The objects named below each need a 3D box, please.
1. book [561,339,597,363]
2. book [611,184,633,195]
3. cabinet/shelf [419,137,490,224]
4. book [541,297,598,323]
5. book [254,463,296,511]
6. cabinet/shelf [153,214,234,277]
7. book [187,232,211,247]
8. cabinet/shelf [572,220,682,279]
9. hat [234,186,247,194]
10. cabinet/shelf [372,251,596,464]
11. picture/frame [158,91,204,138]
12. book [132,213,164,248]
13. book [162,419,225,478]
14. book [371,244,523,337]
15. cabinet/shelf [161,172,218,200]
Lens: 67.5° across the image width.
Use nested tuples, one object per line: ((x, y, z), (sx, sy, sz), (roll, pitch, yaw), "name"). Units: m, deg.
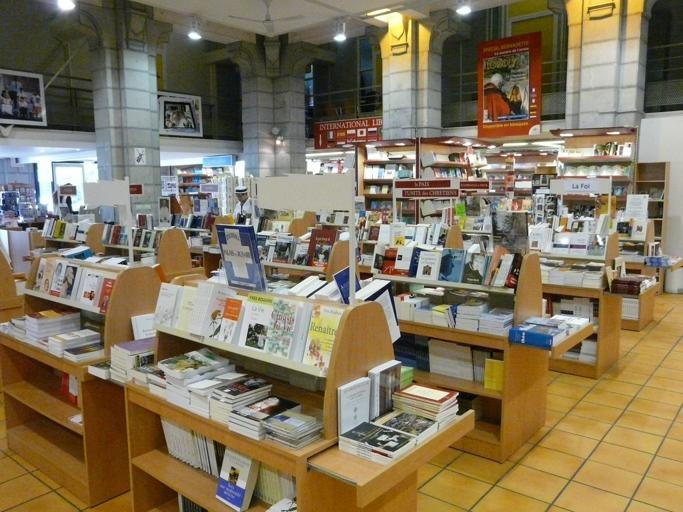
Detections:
((3.106, 1.207, 6.475), (0.256, 0.104, 0.357), (4, 5, 43), "book")
((5.816, -1.379, 10.442), (0.379, 0.211, 0.244), (8, 16, 27), "book")
((2.213, -1.537, 10.160), (0.709, 2.293, 2.497), (0, 6, 37), "cabinet/shelf")
((2.987, 0.660, 6.592), (0.613, 0.332, 0.580), (1, 0, 21), "book")
((-0.439, 1.581, 3.478), (0.224, 0.098, 0.307), (5, 4, 34), "book")
((-2.400, -0.152, 8.225), (0.824, 1.525, 0.894), (15, 21, 34), "cabinet/shelf")
((-2.806, -0.330, 10.350), (0.501, 0.117, 0.465), (4, 10, 9), "book")
((4.381, -0.111, 7.776), (0.630, 0.718, 1.125), (-4, 5, -40), "cabinet/shelf")
((-2.151, -1.397, 10.772), (0.289, 0.147, 0.296), (4, 9, 37), "hat")
((1.277, 0.946, 4.645), (1.902, 1.572, 0.918), (3, 5, 41), "cabinet/shelf")
((-5.153, -4.468, 16.186), (0.430, 1.376, 1.534), (11, 18, 37), "picture/frame")
((-3.380, -0.336, 9.227), (0.742, 0.808, 0.194), (-1, -12, 37), "book")
((-1.066, 1.424, 3.741), (0.451, 0.392, 0.161), (16, 23, 36), "book")
((1.139, 0.482, 4.986), (1.196, 0.725, 0.890), (1, 3, 38), "book")
((-5.641, -2.623, 19.217), (2.025, 0.727, 0.619), (9, 13, 38), "cabinet/shelf")
